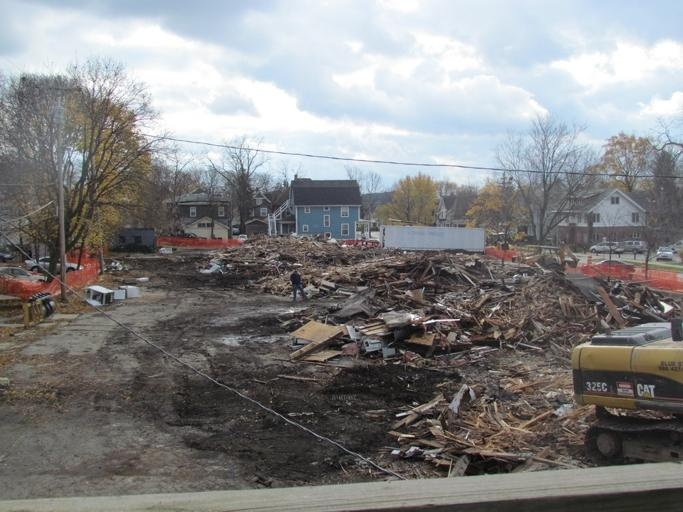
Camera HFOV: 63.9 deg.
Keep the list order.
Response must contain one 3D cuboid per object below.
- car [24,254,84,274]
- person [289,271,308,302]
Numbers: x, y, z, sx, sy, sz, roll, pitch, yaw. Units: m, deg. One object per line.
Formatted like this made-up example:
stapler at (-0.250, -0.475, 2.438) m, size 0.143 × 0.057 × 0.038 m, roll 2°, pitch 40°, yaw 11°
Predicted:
car at (-16.248, 0.375, 30.787) m, size 3.532 × 0.887 × 1.341 m, roll -1°, pitch 4°, yaw -3°
person at (-1.929, 1.272, 24.861) m, size 0.680 × 1.401 × 1.511 m, roll -3°, pitch 10°, yaw -5°
